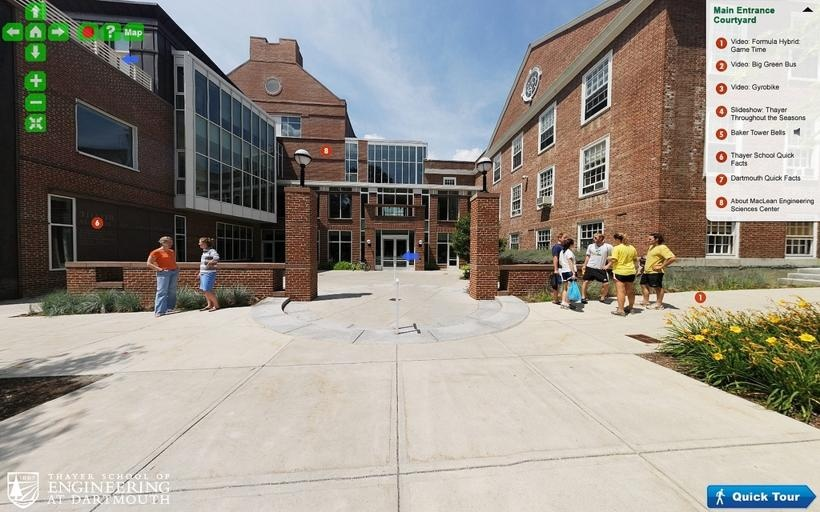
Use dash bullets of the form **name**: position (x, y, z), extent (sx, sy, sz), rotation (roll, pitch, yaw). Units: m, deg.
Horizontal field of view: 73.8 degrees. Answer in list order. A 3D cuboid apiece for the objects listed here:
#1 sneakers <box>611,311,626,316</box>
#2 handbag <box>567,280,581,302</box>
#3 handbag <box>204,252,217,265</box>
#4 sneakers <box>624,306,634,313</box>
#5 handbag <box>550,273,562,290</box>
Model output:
- **sneakers**: position (7.149, 1.932, 18.782), extent (0.443, 0.117, 0.247), rotation (3, 12, 21)
- **handbag**: position (5.795, 1.241, 19.310), extent (0.428, 0.762, 0.308), rotation (2, 12, 16)
- **handbag**: position (-7.106, 0.058, 19.467), extent (0.248, 0.458, 0.456), rotation (8, 15, 39)
- **sneakers**: position (7.563, 1.799, 18.981), extent (0.239, 0.241, 0.449), rotation (4, 12, 22)
- **handbag**: position (5.329, 0.884, 20.090), extent (0.370, 0.619, 0.386), rotation (0, 12, 5)
